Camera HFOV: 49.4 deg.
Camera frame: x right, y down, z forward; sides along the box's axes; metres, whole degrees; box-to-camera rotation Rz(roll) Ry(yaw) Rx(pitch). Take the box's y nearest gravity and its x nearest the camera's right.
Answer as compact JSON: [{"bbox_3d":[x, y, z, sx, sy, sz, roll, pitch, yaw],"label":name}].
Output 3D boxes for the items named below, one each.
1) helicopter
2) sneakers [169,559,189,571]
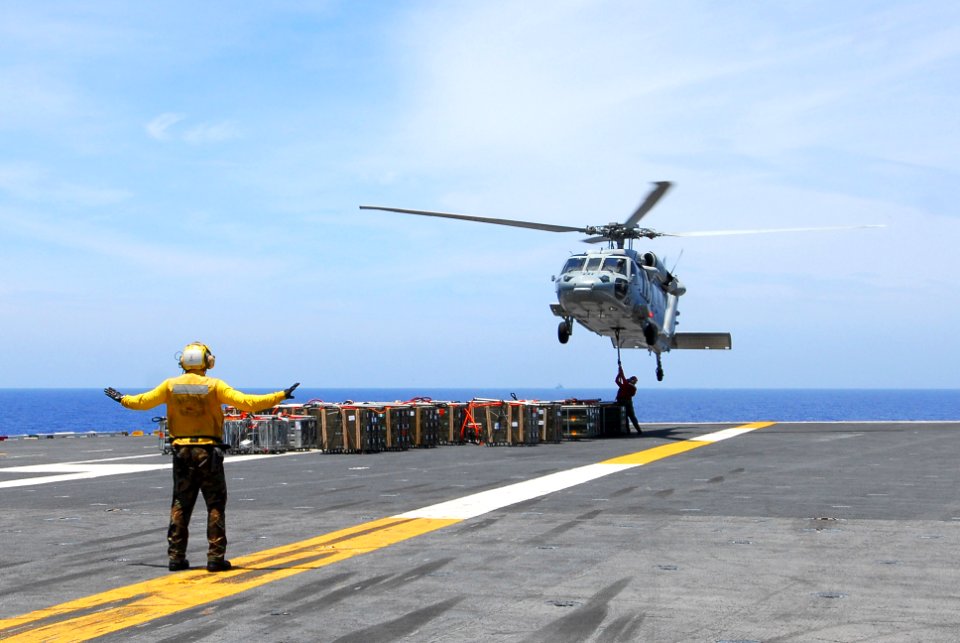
[{"bbox_3d":[4.120,-1.065,37.971,8.422,6.393,15.021,2,-3,-40],"label":"helicopter"},{"bbox_3d":[-4.269,3.376,14.637,0.268,0.140,0.199,0,-6,-13],"label":"sneakers"}]
